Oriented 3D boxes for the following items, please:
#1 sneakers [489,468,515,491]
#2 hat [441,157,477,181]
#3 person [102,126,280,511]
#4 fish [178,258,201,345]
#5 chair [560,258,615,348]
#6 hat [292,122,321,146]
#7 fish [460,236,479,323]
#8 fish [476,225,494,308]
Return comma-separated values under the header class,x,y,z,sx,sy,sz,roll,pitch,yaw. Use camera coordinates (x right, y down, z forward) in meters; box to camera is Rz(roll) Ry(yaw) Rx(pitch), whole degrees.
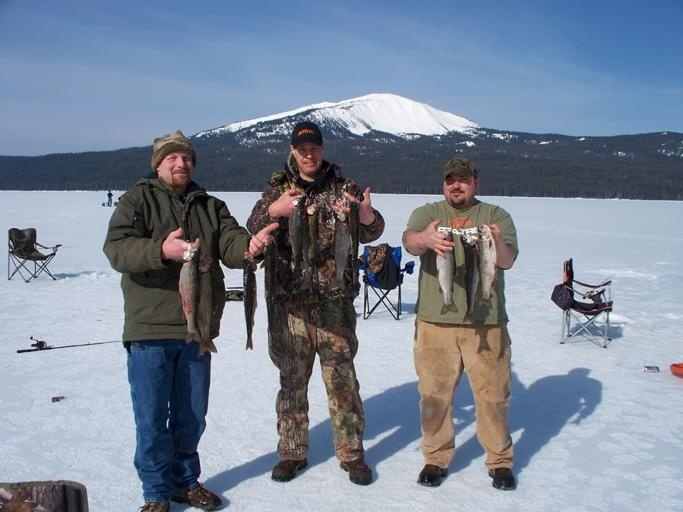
class,x,y,z,sx,sy,sz,roll,pitch,yaw
sneakers,1.767,2.424,6.692,0.152,0.130,0.301,0,-10,-2
hat,1.333,-0.991,6.892,0.366,0.225,0.574,3,13,12
person,-1.638,0.672,6.270,1.311,3.789,1.010,-6,14,-25
fish,-1.467,0.411,5.956,0.200,0.856,0.124,0,13,0
chair,4.415,0.831,11.048,0.910,1.438,1.201,2,6,21
hat,-0.360,-1.296,6.555,0.337,0.268,0.308,0,13,-4
fish,1.404,0.221,6.629,0.204,0.834,0.173,-9,-23,26
fish,1.512,0.067,6.445,0.178,0.789,0.211,5,13,20
